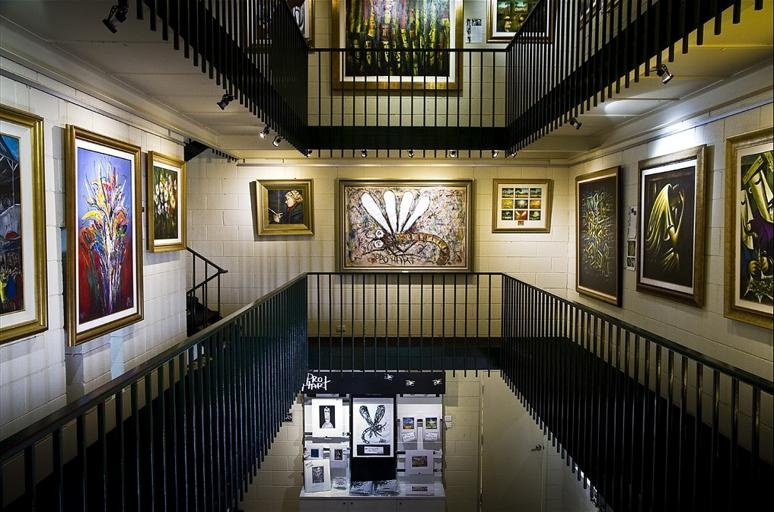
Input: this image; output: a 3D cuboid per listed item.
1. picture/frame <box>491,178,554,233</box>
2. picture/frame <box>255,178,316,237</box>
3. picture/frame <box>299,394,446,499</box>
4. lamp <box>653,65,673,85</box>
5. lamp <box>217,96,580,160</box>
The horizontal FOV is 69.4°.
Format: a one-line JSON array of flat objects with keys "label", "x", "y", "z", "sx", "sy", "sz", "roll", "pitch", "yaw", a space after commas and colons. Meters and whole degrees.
[{"label": "picture/frame", "x": 2.161, "y": -0.864, "z": 9.099, "sx": 0.765, "sy": 0.822, "sz": 0.064, "roll": 0, "pitch": 2, "yaw": -3}, {"label": "picture/frame", "x": -1.651, "y": -0.835, "z": 8.994, "sx": 0.802, "sy": 0.923, "sz": 0.065, "roll": 0, "pitch": 4, "yaw": -1}, {"label": "picture/frame", "x": -0.344, "y": 3.148, "z": 9.275, "sx": 1.743, "sy": 1.450, "sz": 0.209, "roll": 0, "pitch": 3, "yaw": 1}, {"label": "lamp", "x": 2.598, "y": -1.727, "z": 5.278, "sx": 0.121, "sy": 0.078, "sz": 0.122, "roll": 44, "pitch": 5, "yaw": -46}, {"label": "lamp", "x": 0.500, "y": -1.648, "z": 7.586, "sx": 3.325, "sy": 0.710, "sz": 1.469, "roll": 4, "pitch": 1, "yaw": 15}]
